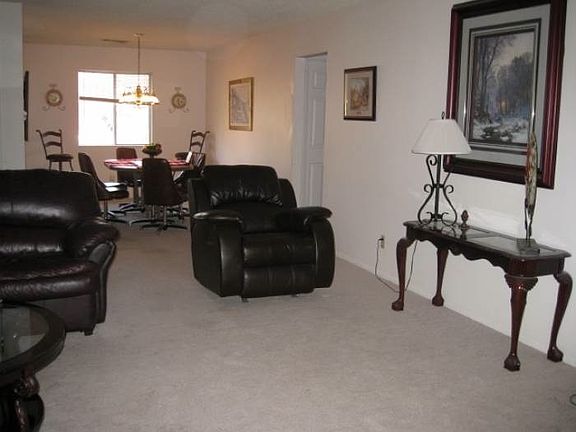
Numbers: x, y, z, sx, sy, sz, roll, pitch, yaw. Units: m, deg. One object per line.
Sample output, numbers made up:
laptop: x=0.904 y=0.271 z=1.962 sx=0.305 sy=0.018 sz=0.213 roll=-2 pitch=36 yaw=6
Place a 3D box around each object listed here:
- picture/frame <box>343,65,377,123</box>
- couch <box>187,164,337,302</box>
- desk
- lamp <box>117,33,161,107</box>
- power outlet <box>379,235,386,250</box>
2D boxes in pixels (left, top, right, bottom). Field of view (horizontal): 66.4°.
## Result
picture/frame: x=0.820 y=-1.385 z=4.952 sx=0.048 sy=0.648 sz=0.608 roll=-7 pitch=14 yaw=-28
couch: x=-0.372 y=0.215 z=4.535 sx=1.265 sy=1.327 sz=1.319 roll=-1 pitch=4 yaw=-19
desk: x=1.462 y=0.545 z=3.381 sx=0.521 sy=0.855 sz=1.154 roll=-7 pitch=15 yaw=-36
lamp: x=-2.847 y=-2.705 z=8.388 sx=0.648 sy=1.190 sz=2.024 roll=-2 pitch=13 yaw=-16
power outlet: x=1.025 y=0.290 z=4.777 sx=0.015 sy=0.151 sz=0.105 roll=-9 pitch=26 yaw=-33
